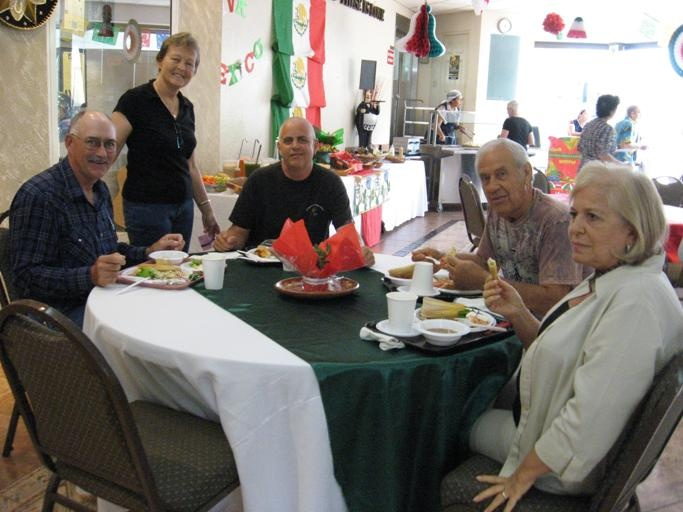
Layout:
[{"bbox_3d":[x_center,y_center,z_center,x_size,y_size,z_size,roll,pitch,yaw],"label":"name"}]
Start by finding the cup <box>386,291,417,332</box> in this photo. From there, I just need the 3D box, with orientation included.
[{"bbox_3d":[0.189,0.175,1.696,0.105,0.119,0.109,0,1,0],"label":"cup"}]

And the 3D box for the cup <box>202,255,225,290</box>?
[{"bbox_3d":[-0.503,0.061,2.070,0.108,0.133,0.116,1,7,0],"label":"cup"}]

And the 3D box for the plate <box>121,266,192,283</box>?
[{"bbox_3d":[-0.762,0.074,2.163,0.120,0.020,0.133,9,11,2],"label":"plate"}]

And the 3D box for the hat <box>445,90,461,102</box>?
[{"bbox_3d":[1.984,-2.827,9.341,0.212,0.203,0.321,2,14,6],"label":"hat"}]

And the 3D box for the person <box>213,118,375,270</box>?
[{"bbox_3d":[-0.254,-0.363,2.945,0.867,0.831,0.575,-2,5,-14],"label":"person"}]

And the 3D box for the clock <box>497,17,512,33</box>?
[{"bbox_3d":[3.718,-5.267,12.018,0.425,0.340,0.055,-7,16,-28],"label":"clock"}]

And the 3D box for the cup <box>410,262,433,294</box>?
[{"bbox_3d":[0.323,0.087,2.155,0.098,0.124,0.110,1,8,-5],"label":"cup"}]
